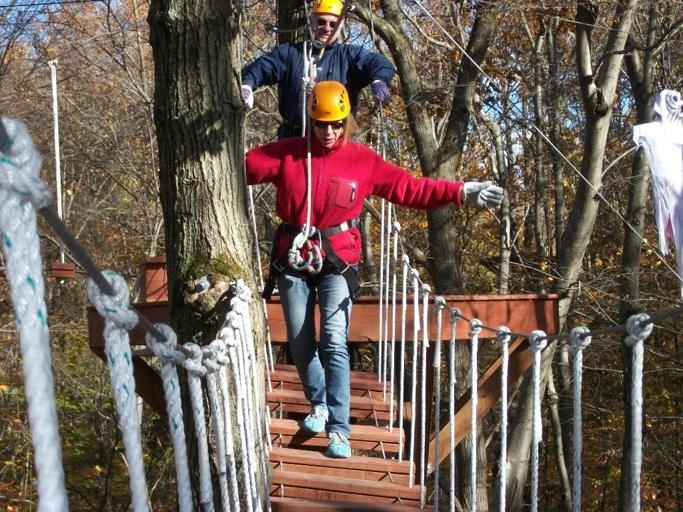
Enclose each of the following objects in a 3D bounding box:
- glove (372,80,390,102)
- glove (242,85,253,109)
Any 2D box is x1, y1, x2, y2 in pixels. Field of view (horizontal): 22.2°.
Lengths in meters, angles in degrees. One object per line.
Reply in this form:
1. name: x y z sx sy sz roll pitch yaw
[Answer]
1. glove: 0.684 -2.728 29.176 0.231 0.388 0.119 -13 -2 -8
2. glove: -1.522 -2.642 28.787 0.185 0.378 0.134 -6 8 16
